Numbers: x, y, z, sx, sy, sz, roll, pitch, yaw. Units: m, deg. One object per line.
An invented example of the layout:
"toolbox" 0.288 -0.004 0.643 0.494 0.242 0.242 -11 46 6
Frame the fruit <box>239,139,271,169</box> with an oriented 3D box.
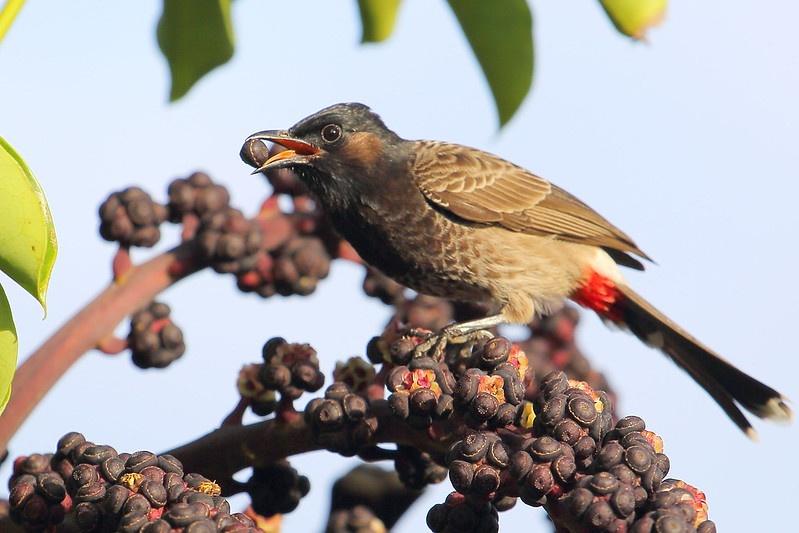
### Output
"fruit" -0.617 -0.482 5.420 0.095 0.099 0.265 13 4 6
